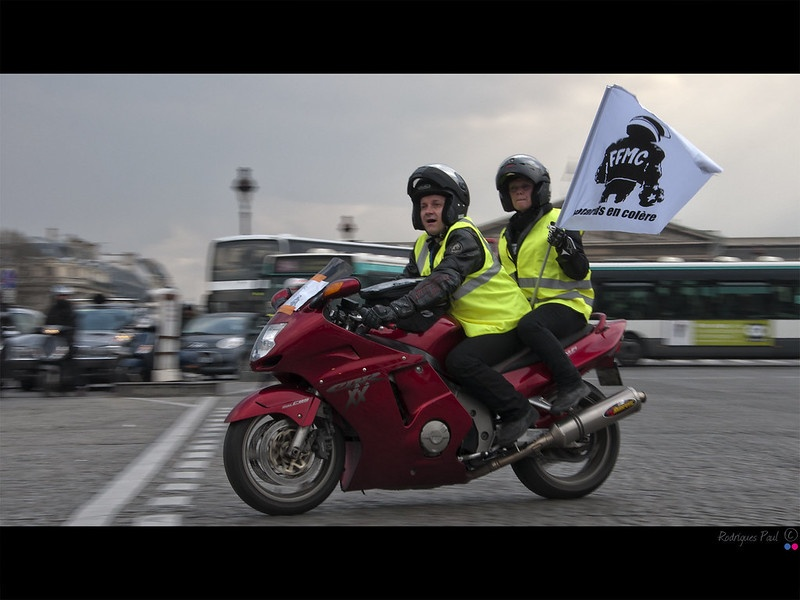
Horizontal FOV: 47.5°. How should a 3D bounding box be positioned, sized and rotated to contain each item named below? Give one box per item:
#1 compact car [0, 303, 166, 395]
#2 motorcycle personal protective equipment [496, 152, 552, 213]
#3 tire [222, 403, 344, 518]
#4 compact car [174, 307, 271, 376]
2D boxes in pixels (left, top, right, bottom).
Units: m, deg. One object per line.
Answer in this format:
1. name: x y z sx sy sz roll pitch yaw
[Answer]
1. compact car: -6.167 0.918 17.924 2.116 0.984 4.322 -1 2 -8
2. motorcycle personal protective equipment: 0.982 -0.943 7.090 0.496 0.298 0.416 -1 0 -16
3. tire: -0.776 1.143 6.247 0.819 0.729 0.264 -2 2 -7
4. compact car: -3.690 0.877 18.725 1.598 0.801 2.066 -2 -6 18
